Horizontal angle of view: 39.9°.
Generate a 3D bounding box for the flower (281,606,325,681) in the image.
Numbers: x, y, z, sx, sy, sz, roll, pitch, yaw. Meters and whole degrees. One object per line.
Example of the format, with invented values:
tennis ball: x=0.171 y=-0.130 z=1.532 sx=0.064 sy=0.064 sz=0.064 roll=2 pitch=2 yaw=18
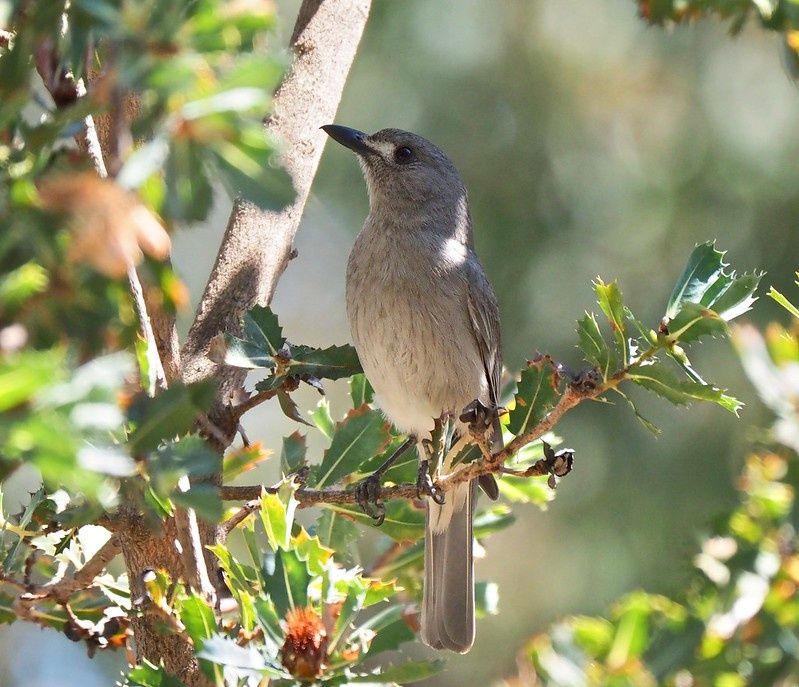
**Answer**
flower: x=-0.159 y=0.516 z=1.934 sx=0.076 sy=0.102 sz=0.110 roll=4 pitch=31 yaw=-5
